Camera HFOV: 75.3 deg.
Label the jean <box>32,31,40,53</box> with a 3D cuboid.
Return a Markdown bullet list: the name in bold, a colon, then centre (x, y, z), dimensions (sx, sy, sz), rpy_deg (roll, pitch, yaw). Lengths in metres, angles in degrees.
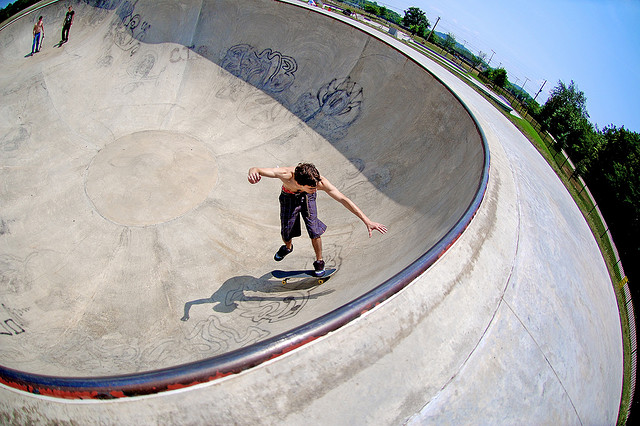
- **jean**: centre (-12.040, -7.134, 17.469), dimensions (0.240, 0.069, 1.013), rpy_deg (1, 72, -6)
